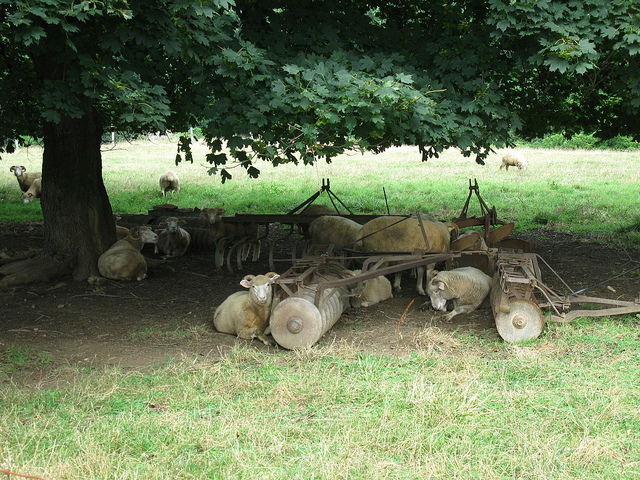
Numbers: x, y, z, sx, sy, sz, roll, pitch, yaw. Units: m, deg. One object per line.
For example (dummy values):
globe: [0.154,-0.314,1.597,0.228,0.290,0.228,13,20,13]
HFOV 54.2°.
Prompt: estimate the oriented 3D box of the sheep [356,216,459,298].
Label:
sheep: [1.747,0.288,12.075,2.392,1.495,0.972,2,2,-10]

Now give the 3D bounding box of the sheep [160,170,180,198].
sheep: [-5.609,-2.115,23.349,0.670,0.877,1.072,-4,12,-14]

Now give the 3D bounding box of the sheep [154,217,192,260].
sheep: [-3.484,0.007,14.669,0.638,0.667,1.187,-1,0,-9]

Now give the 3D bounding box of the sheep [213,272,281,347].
sheep: [-1.152,1.062,10.114,1.020,1.095,1.635,-5,6,-26]

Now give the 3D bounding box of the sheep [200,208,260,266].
sheep: [-1.900,-0.165,14.325,1.790,1.118,0.844,2,1,-9]

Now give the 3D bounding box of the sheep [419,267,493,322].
sheep: [2.469,0.887,10.931,1.583,0.734,0.750,-6,-2,-39]

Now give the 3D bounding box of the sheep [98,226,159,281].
sheep: [-3.933,0.296,13.014,0.749,0.647,1.261,5,24,3]

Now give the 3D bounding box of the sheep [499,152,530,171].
sheep: [9.982,-4.053,32.221,1.277,0.826,1.651,-3,12,-8]

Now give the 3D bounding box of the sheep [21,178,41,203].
sheep: [-9.989,-1.724,21.710,0.616,0.731,0.940,-7,13,-25]

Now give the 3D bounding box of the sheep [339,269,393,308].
sheep: [0.924,0.902,11.332,0.297,0.480,1.054,10,16,43]

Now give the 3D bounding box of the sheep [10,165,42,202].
sheep: [-10.428,-2.035,22.346,0.918,1.111,2.404,-7,13,-25]
